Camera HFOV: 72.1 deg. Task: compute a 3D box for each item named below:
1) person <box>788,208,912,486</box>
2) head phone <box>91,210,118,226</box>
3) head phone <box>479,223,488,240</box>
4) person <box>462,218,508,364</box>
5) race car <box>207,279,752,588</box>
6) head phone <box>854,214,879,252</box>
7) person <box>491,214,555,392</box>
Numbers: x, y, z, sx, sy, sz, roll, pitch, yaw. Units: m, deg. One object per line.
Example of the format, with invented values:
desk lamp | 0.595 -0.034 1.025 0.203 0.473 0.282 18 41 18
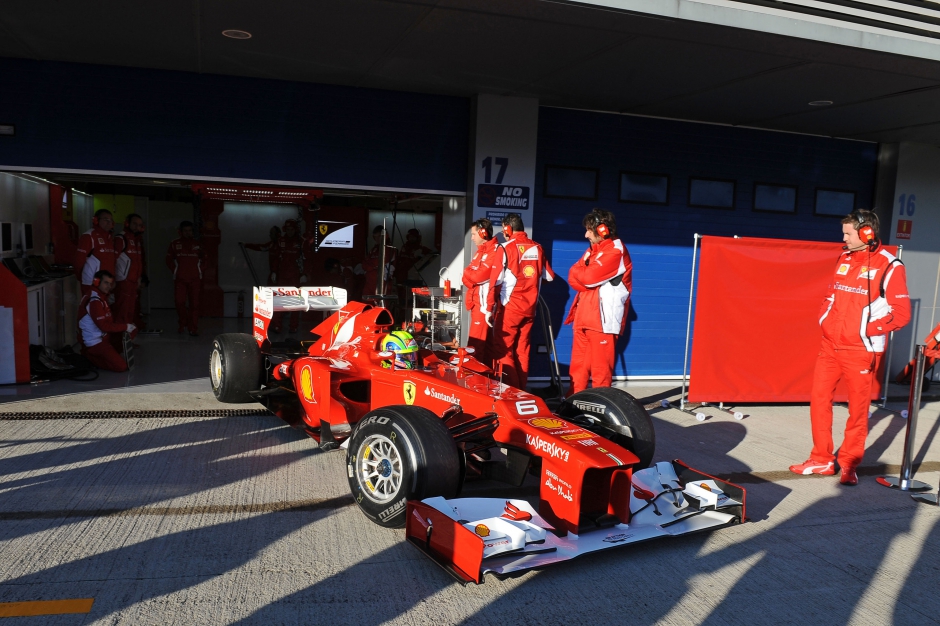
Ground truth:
person | 3.854 0.310 6.504 0.581 2.632 0.965 4 1 -17
head phone | -5.246 -1.352 9.253 0.203 0.234 0.299 -3 7 -38
head phone | 0.174 -1.008 8.110 0.097 0.118 0.115 8 11 6
person | 0.173 -0.340 8.046 0.557 1.744 0.504 2 -6 -4
race car | -0.651 0.649 6.806 2.689 1.412 5.692 0 8 -38
head phone | 3.847 -0.788 6.318 0.152 0.326 0.364 -5 -5 12
person | 0.589 -0.140 8.260 0.936 2.092 0.655 -3 8 -38
